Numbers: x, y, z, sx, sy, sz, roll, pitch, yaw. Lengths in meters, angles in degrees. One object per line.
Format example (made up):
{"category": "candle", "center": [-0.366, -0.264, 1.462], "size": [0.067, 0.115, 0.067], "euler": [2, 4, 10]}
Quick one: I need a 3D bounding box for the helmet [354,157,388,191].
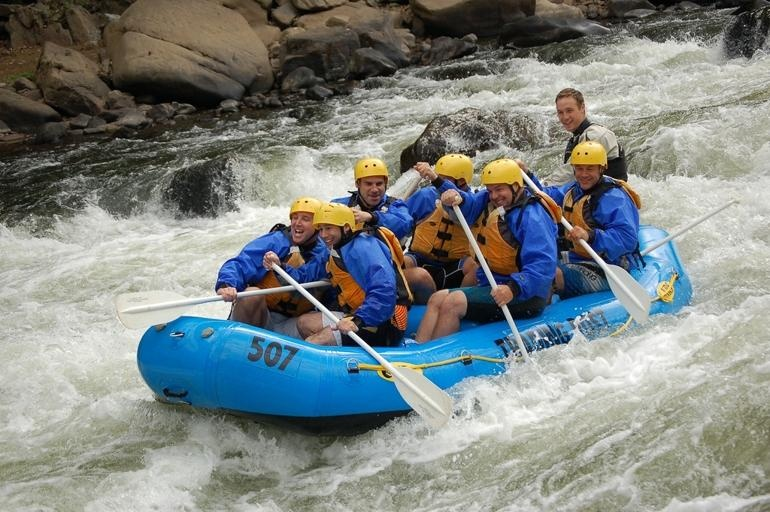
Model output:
{"category": "helmet", "center": [-0.154, -0.951, 8.279], "size": [0.298, 0.316, 0.355], "euler": [0, -6, -11]}

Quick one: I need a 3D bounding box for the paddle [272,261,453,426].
{"category": "paddle", "center": [-0.257, 0.907, 7.267], "size": [2.499, 0.346, 0.180], "euler": [36, -12, 20]}

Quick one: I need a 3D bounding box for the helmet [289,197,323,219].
{"category": "helmet", "center": [-0.861, -0.539, 7.842], "size": [0.285, 0.199, 0.204], "euler": [23, -19, -11]}

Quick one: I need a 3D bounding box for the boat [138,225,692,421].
{"category": "boat", "center": [0.159, 0.964, 7.429], "size": [4.085, 0.751, 2.048], "euler": [-12, 16, -24]}

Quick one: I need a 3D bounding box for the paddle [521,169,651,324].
{"category": "paddle", "center": [2.127, -0.043, 7.791], "size": [2.497, 0.359, 0.109], "euler": [48, 18, 30]}

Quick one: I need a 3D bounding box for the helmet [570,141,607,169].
{"category": "helmet", "center": [2.223, -1.114, 7.965], "size": [0.268, 0.271, 0.346], "euler": [3, -5, 30]}

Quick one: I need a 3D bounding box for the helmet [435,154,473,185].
{"category": "helmet", "center": [0.800, -0.989, 8.263], "size": [0.411, 0.291, 0.295], "euler": [-7, 23, -20]}

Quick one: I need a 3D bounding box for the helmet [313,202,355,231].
{"category": "helmet", "center": [-0.510, -0.385, 7.432], "size": [0.359, 0.202, 0.269], "euler": [15, -14, -23]}

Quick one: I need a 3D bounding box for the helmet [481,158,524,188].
{"category": "helmet", "center": [1.225, -0.854, 7.632], "size": [0.364, 0.197, 0.283], "euler": [4, -3, -37]}
